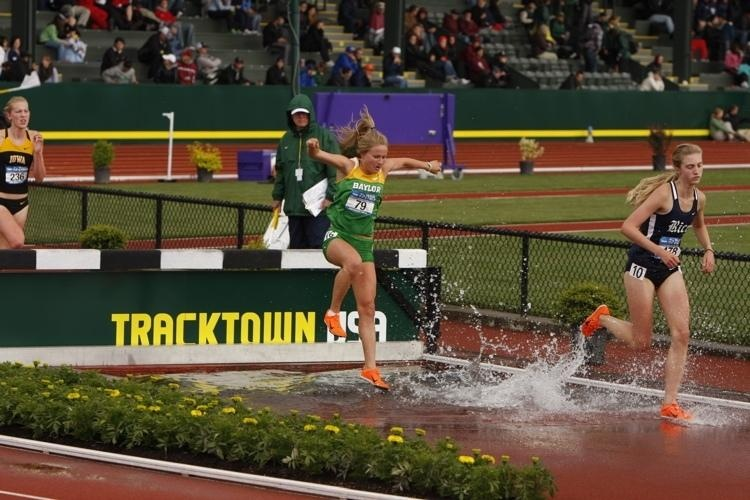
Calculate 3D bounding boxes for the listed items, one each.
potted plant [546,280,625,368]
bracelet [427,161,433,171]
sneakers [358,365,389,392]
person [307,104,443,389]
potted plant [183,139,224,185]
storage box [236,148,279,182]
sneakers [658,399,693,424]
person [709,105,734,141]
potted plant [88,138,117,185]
[{"bbox_3d":[2.763,0.954,16.481,0.934,1.104,0.991,-1,5,24],"label":"potted plant"},{"bbox_3d":[0.688,-1.035,15.314,0.079,0.097,0.035,3,2,34],"label":"bracelet"},{"bbox_3d":[0.009,1.518,14.971,0.476,0.213,0.164,17,19,32],"label":"sneakers"},{"bbox_3d":[-0.182,-0.023,15.144,1.071,3.266,0.995,5,11,18],"label":"person"},{"bbox_3d":[-4.370,-2.333,32.554,0.976,1.203,1.147,6,9,43],"label":"potted plant"},{"bbox_3d":[-3.093,-2.215,32.463,1.354,1.010,1.374,0,3,2],"label":"storage box"},{"bbox_3d":[3.436,1.842,14.185,0.327,0.153,0.183,18,-8,34],"label":"sneakers"},{"bbox_3d":[12.210,-4.285,43.573,0.784,1.386,0.595,-5,-13,30],"label":"person"},{"bbox_3d":[-6.798,-2.220,31.169,0.482,1.058,0.817,-1,11,-11],"label":"potted plant"}]
